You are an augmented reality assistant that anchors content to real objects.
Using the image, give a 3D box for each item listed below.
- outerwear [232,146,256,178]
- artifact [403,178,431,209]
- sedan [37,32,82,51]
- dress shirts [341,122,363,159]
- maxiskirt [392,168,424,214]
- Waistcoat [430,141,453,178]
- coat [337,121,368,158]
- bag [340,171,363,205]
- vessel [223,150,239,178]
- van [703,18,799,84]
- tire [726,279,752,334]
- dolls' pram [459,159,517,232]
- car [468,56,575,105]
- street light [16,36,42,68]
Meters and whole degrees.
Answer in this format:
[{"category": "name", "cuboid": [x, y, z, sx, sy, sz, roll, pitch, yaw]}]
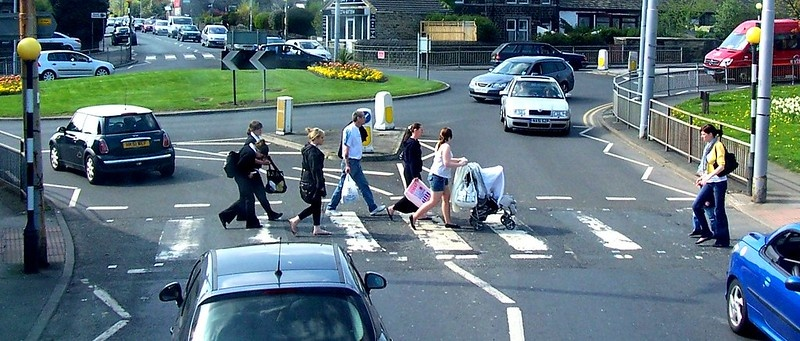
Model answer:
[{"category": "outerwear", "cuboid": [-6.665, -0.365, 30.268, 0.857, 1.481, 1.114, 14, 7, 5]}, {"category": "artifact", "cuboid": [0.817, 0.934, 30.674, 1.151, 1.247, 0.346, -44, 9, 8]}, {"category": "sedan", "cuboid": [-32.605, -12.284, 67.630, 2.387, 1.782, 7.643, -7, 16, -14]}, {"category": "dress shirts", "cuboid": [-2.120, -1.318, 31.191, 0.898, 1.498, 0.701, -7, 16, -17]}, {"category": "maxiskirt", "cuboid": [0.373, 0.778, 30.991, 0.633, 1.962, 1.356, 5, -20, 28]}, {"category": "Waistcoat", "cuboid": [1.867, -0.477, 31.313, 0.983, 1.581, 1.292, -5, 24, -24]}, {"category": "coat", "cuboid": [-2.138, -1.448, 32.793, 1.585, 2.060, 1.195, -5, 19, -18]}, {"category": "bag", "cuboid": [-2.274, 0.751, 31.359, 1.232, 1.929, 1.059, -1, 2, -7]}, {"category": "vessel", "cuboid": [-7.250, -0.349, 30.647, 0.820, 1.022, 0.407, 7, 15, -3]}, {"category": "van", "cuboid": [27.836, -9.150, 55.084, 9.229, 4.882, 5.240, -1, 7, -1]}, {"category": "tire", "cuboid": [12.702, 5.051, 26.240, 0.620, 1.892, 1.683, 2, -15, -9]}, {"category": "dolls' pram", "cuboid": [4.059, 0.854, 32.151, 2.994, 3.126, 2.307, -1, 7, -4]}, {"category": "car", "cuboid": [8.580, -6.457, 49.138, 6.956, 2.432, 3.156, -6, 12, -32]}, {"category": "street light", "cuboid": [-15.094, -4.978, 28.668, 0.955, 1.101, 1.002, 2, 12, 9]}]
